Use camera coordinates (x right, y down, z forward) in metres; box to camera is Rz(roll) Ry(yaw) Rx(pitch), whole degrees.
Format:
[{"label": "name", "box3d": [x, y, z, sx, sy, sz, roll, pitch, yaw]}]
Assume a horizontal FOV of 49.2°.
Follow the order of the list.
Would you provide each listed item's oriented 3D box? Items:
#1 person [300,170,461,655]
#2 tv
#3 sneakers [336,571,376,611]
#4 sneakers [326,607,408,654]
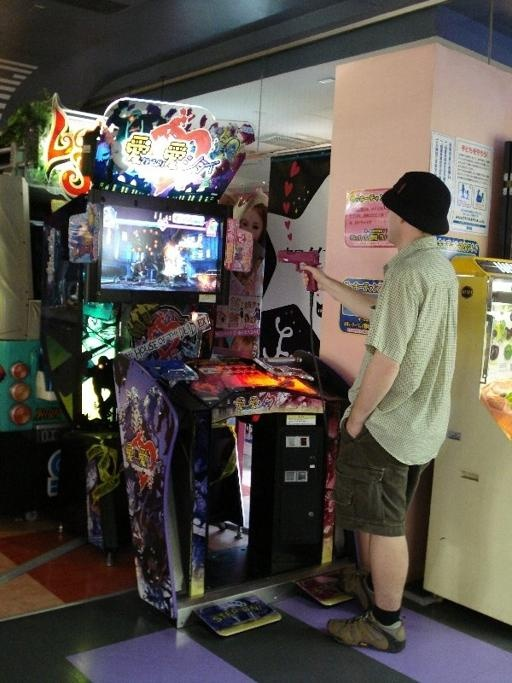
[{"label": "person", "box3d": [0.476, 0.240, 1.954, 0.372, 1.611, 0.597, 4, -3, 3]}, {"label": "tv", "box3d": [-0.453, -0.428, 2.522, 0.611, 0.368, 0.059, -3, 10, -34]}, {"label": "sneakers", "box3d": [0.389, 0.966, 2.214, 0.068, 0.077, 0.190, -8, 26, -31]}, {"label": "sneakers", "box3d": [0.376, 0.980, 1.931, 0.297, 0.123, 0.106, 6, 3, 19]}]
